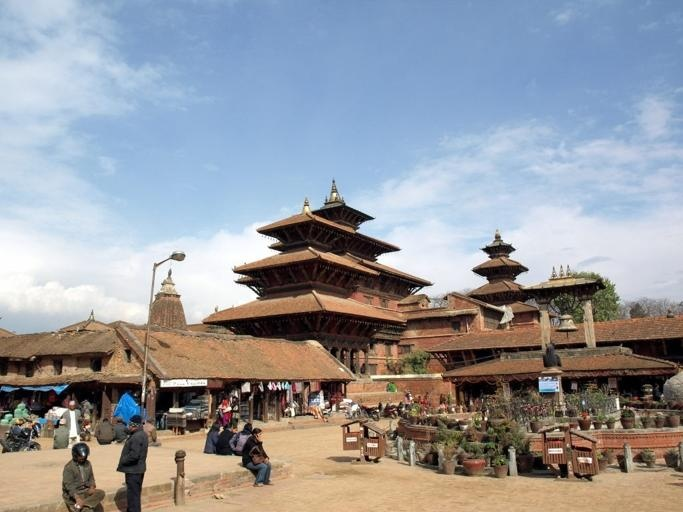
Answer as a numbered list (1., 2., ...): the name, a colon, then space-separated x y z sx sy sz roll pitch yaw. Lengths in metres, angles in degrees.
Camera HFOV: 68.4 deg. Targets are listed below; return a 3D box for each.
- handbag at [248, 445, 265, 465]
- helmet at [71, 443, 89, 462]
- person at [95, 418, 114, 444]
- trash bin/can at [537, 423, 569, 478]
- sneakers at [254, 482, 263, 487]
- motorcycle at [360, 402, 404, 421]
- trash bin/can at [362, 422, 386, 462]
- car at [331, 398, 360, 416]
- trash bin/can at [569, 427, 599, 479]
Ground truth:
1. handbag: -2.691 6.096 15.532 0.573 0.573 0.244 7 -28 -33
2. helmet: -5.818 4.302 11.109 0.301 0.410 0.391 6 -17 -26
3. person: -10.282 7.454 21.628 0.833 1.030 0.602 0 -16 -7
4. trash bin/can: 7.297 6.533 17.042 0.920 1.660 0.763 -6 -16 17
5. sneakers: -2.587 6.914 15.372 0.238 0.091 0.099 -8 -14 26
6. motorcycle: 2.999 10.952 35.347 3.182 1.520 1.266 -3 -11 -5
7. trash bin/can: 1.233 7.106 19.410 0.867 1.510 1.630 -2 -15 2
8. car: 0.332 10.842 36.368 1.999 1.142 3.205 2 -15 -14
9. trash bin/can: 8.008 6.502 16.601 0.816 1.555 1.175 -8 -16 20
